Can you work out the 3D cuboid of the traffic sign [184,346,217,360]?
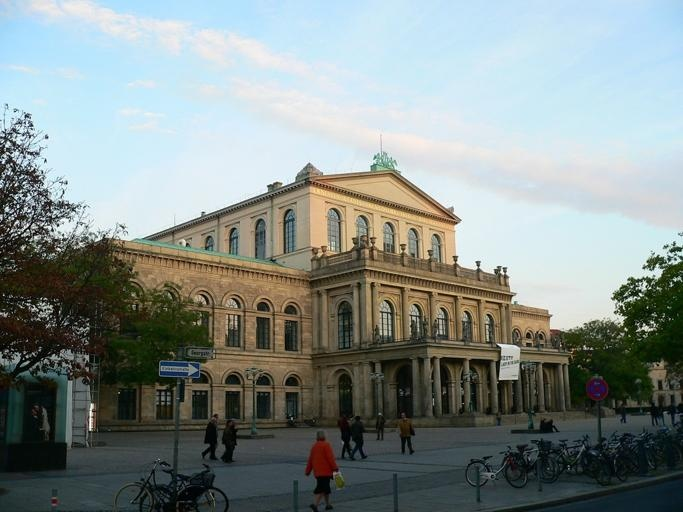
[{"bbox_3d":[-4.106,2.767,20.505,0.759,0.404,1.845,2,-14,-7],"label":"traffic sign"}]

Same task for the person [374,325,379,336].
[{"bbox_3d":[3.088,6.465,62.010,0.229,0.977,0.734,-9,-17,34],"label":"person"}]

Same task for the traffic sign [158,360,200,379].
[{"bbox_3d":[-4.490,3.139,19.701,0.910,0.580,1.394,1,-14,-1],"label":"traffic sign"}]
